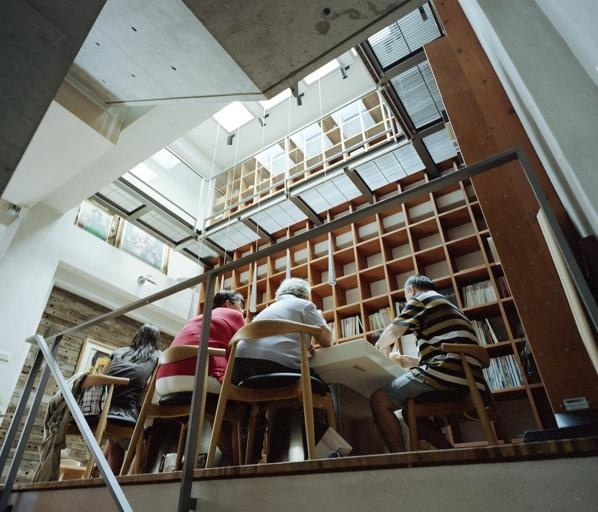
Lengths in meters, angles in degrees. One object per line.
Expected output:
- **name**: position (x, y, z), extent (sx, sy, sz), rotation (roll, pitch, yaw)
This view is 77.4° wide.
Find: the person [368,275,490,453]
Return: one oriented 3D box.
- **person**: position (0.646, 0.556, 1.863), extent (0.485, 0.988, 0.483), rotation (-8, -37, 26)
